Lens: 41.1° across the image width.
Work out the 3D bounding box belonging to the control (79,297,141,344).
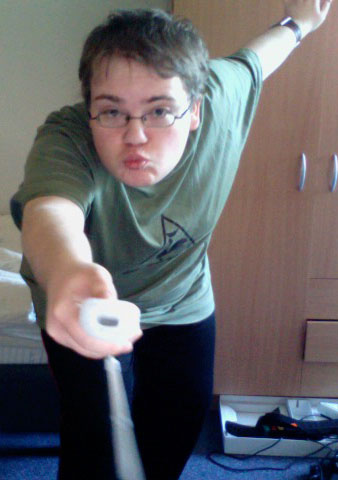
[{"bbox_3d":[-0.060,0.081,0.457,0.054,0.042,0.019,12,17,-13],"label":"control"}]

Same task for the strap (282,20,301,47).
[{"bbox_3d":[0.348,-0.583,1.282,0.022,0.058,0.057,-19,-1,-10],"label":"strap"}]
